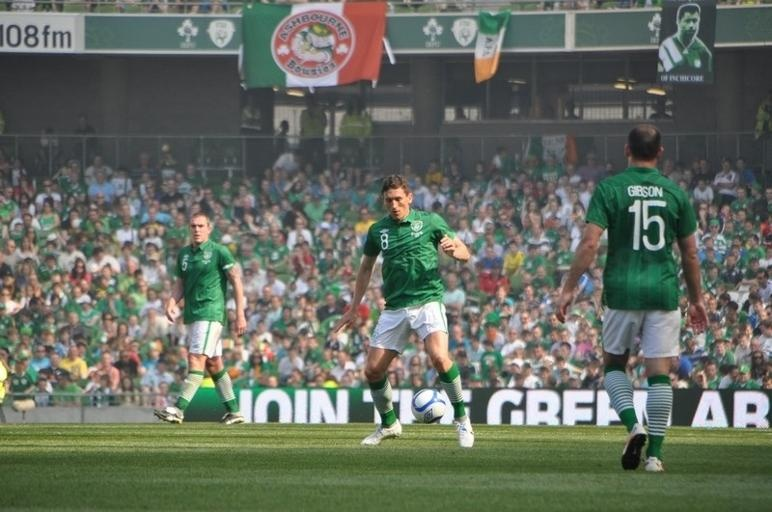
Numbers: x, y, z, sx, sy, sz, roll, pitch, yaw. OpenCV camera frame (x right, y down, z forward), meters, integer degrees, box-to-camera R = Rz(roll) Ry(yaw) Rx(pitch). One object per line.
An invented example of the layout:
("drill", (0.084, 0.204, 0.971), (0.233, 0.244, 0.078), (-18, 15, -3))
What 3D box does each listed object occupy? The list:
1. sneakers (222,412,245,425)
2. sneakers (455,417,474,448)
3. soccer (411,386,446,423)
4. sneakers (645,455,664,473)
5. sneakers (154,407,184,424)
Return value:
("sneakers", (-2.883, 2.986, 35.521), (0.441, 0.202, 0.176), (2, -4, -9))
("sneakers", (1.339, 3.027, 32.747), (0.275, 0.644, 0.214), (18, -48, -28))
("soccer", (0.797, 2.391, 33.300), (0.585, 0.584, 0.594), (16, -20, 5))
("sneakers", (4.402, 3.381, 31.269), (0.243, 0.261, 0.578), (0, -2, 10))
("sneakers", (-3.956, 2.833, 34.638), (0.573, 0.281, 0.253), (15, 21, -25))
